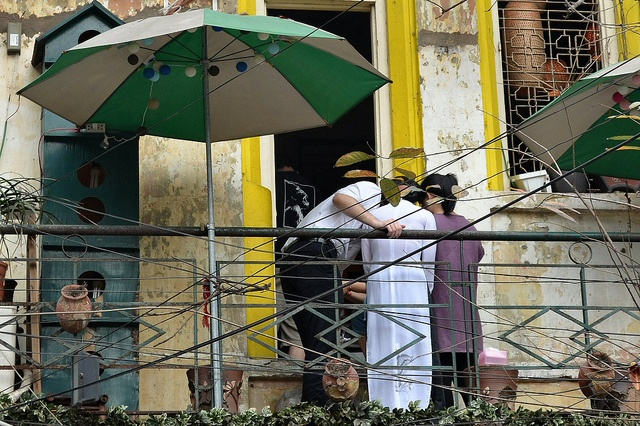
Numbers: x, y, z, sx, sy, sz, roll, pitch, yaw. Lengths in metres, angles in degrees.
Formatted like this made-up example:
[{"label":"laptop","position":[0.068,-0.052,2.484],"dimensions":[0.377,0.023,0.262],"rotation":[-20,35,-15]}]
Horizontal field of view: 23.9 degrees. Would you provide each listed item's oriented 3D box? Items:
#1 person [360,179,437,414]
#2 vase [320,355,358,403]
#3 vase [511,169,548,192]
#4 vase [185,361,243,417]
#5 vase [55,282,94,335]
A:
[{"label":"person","position":[0.787,0.801,14.576],"dimensions":[0.786,2.213,1.028],"rotation":[-4,-12,1]},{"label":"vase","position":[0.193,1.644,14.175],"dimensions":[0.305,0.319,0.289],"rotation":[9,14,5]},{"label":"vase","position":[2.217,-0.328,15.885],"dimensions":[0.381,0.272,0.294],"rotation":[-1,-11,-1]},{"label":"vase","position":[-1.099,1.755,14.594],"dimensions":[0.534,0.373,0.510],"rotation":[3,-15,-42]},{"label":"vase","position":[-2.293,0.894,14.014],"dimensions":[0.451,0.500,0.454],"rotation":[3,-12,-13]}]
